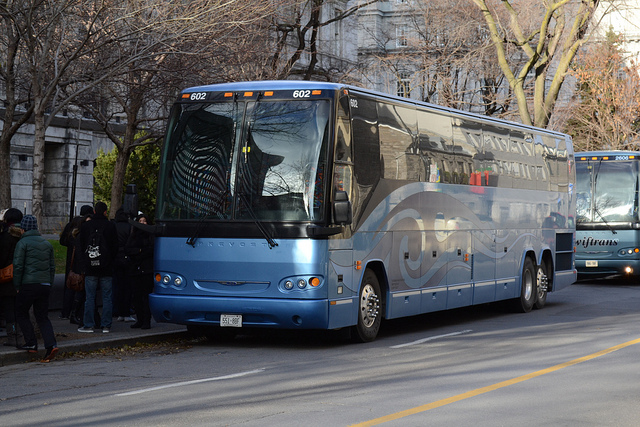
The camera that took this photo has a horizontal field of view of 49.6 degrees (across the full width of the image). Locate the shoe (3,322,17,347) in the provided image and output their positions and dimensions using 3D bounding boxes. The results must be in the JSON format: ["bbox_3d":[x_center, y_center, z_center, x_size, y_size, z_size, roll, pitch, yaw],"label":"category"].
[{"bbox_3d":[-5.487,2.128,12.286,0.112,0.528,0.724,0,5,-35],"label":"shoe"}]

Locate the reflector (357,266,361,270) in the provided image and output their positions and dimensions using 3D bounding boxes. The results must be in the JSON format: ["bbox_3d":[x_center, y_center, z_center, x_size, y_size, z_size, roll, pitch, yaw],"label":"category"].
[{"bbox_3d":[0.725,1.025,13.268,0.044,0.058,0.083,-4,-3,43],"label":"reflector"}]

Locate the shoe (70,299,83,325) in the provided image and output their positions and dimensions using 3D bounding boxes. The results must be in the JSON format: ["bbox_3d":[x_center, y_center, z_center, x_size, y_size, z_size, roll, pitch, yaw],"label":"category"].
[{"bbox_3d":[-5.233,2.084,14.817,0.266,0.506,0.308,3,4,4],"label":"shoe"}]

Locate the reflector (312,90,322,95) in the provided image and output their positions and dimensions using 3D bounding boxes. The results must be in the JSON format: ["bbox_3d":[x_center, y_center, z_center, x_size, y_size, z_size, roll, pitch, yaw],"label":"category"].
[{"bbox_3d":[-0.081,-2.240,12.841,0.097,0.071,0.096,1,1,2],"label":"reflector"}]

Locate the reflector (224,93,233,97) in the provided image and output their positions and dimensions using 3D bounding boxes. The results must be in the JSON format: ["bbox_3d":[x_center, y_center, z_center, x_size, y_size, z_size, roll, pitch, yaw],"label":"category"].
[{"bbox_3d":[-1.762,-2.275,13.278,0.088,0.056,0.004,-1,-24,11],"label":"reflector"}]

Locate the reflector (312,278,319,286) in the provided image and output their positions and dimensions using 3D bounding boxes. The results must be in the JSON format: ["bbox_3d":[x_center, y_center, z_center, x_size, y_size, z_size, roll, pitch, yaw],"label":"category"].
[{"bbox_3d":[-0.094,1.220,12.457,0.115,0.138,0.012,3,4,-5],"label":"reflector"}]

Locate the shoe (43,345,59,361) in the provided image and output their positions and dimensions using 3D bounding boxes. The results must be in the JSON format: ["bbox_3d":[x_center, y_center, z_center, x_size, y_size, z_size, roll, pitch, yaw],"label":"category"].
[{"bbox_3d":[-4.555,2.348,11.732,0.125,0.145,0.363,18,-42,-42],"label":"shoe"}]

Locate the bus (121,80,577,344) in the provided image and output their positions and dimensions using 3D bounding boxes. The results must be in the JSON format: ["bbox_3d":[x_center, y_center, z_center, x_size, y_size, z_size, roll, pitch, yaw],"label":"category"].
[{"bbox_3d":[2.350,0.025,18.409,4.509,5.062,14.072,2,1,35],"label":"bus"}]

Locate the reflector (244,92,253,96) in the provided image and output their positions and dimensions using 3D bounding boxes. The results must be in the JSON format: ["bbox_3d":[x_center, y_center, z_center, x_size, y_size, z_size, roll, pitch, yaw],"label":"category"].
[{"bbox_3d":[-1.375,-2.273,13.179,0.087,0.087,0.021,2,-3,9],"label":"reflector"}]

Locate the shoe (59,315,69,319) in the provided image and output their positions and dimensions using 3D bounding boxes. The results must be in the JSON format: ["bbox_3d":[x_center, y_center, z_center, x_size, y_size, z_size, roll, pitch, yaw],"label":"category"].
[{"bbox_3d":[-5.797,2.322,15.629,0.279,0.125,0.098,0,-1,29],"label":"shoe"}]

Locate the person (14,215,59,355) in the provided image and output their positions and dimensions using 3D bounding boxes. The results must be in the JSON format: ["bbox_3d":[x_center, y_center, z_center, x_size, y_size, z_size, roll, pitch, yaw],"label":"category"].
[{"bbox_3d":[-4.954,1.244,12.080,0.697,2.350,1.227,1,4,-24],"label":"person"}]

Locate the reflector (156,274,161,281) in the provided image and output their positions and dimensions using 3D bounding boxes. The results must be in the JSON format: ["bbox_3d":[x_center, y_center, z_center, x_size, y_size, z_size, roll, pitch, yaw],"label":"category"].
[{"bbox_3d":[-3.114,1.220,13.308,0.117,0.125,0.014,5,4,26],"label":"reflector"}]

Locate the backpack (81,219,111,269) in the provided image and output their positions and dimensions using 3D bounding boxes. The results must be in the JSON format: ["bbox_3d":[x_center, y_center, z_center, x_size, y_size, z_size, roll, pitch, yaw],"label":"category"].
[{"bbox_3d":[-4.384,0.614,13.578,0.553,0.929,0.326,2,4,-12],"label":"backpack"}]

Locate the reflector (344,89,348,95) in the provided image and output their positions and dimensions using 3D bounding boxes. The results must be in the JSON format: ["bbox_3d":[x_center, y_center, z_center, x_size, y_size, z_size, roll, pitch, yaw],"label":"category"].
[{"bbox_3d":[0.472,-2.293,13.066,0.029,0.087,0.118,5,4,28],"label":"reflector"}]

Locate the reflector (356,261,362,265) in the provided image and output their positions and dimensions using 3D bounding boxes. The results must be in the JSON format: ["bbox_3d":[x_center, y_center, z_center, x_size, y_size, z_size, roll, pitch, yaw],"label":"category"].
[{"bbox_3d":[0.715,0.933,13.244,0.090,0.062,0.048,-5,10,-39],"label":"reflector"}]

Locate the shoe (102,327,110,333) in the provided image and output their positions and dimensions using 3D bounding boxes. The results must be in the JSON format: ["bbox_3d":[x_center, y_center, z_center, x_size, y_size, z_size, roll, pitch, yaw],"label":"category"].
[{"bbox_3d":[-4.313,2.342,13.959,0.085,0.062,0.088,0,0,13],"label":"shoe"}]
